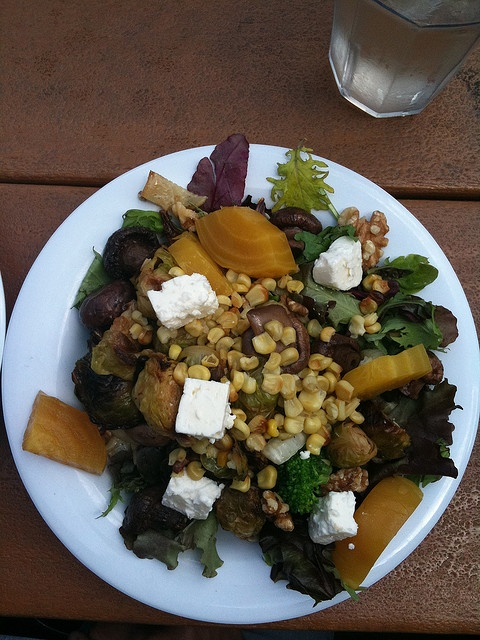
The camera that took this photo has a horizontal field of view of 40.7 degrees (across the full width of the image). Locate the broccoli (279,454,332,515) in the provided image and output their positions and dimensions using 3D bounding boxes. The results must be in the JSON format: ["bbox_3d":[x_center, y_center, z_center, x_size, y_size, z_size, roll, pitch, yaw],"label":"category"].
[{"bbox_3d":[0.164,0.412,1.697,0.172,0.052,0.147,-5,97,-5],"label":"broccoli"}]
